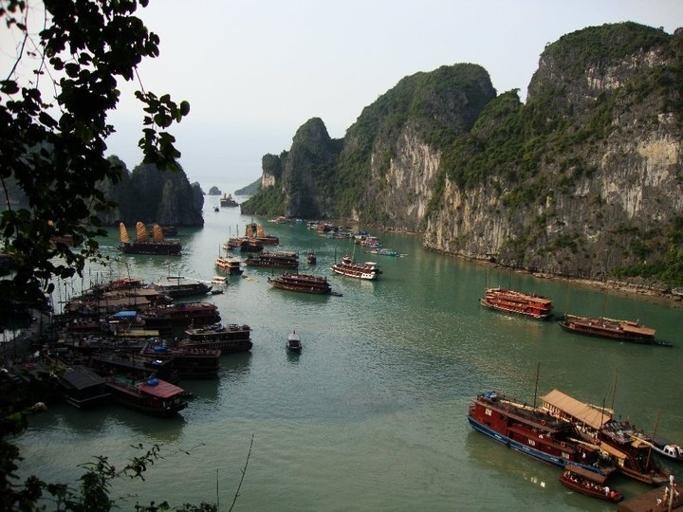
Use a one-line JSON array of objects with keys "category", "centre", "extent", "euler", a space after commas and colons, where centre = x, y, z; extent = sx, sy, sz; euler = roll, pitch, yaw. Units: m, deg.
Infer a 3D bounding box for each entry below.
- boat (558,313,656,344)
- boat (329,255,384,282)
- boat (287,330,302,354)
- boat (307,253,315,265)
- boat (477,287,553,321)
[{"category": "boat", "centre": [23.607, 6.431, 50.690], "extent": [7.149, 1.559, 2.915], "euler": [11, 15, 34]}, {"category": "boat", "centre": [2.149, 2.339, 76.424], "extent": [2.784, 2.769, 6.878], "euler": [-16, 24, -41]}, {"category": "boat", "centre": [-3.558, 6.725, 43.691], "extent": [0.951, 0.841, 2.179], "euler": [0, 11, -3]}, {"category": "boat", "centre": [-4.492, 0.554, 86.079], "extent": [1.366, 1.969, 6.097], "euler": [-2, 2, -4]}, {"category": "boat", "centre": [17.374, 4.803, 57.436], "extent": [1.933, 2.225, 6.742], "euler": [-9, 17, -43]}]
